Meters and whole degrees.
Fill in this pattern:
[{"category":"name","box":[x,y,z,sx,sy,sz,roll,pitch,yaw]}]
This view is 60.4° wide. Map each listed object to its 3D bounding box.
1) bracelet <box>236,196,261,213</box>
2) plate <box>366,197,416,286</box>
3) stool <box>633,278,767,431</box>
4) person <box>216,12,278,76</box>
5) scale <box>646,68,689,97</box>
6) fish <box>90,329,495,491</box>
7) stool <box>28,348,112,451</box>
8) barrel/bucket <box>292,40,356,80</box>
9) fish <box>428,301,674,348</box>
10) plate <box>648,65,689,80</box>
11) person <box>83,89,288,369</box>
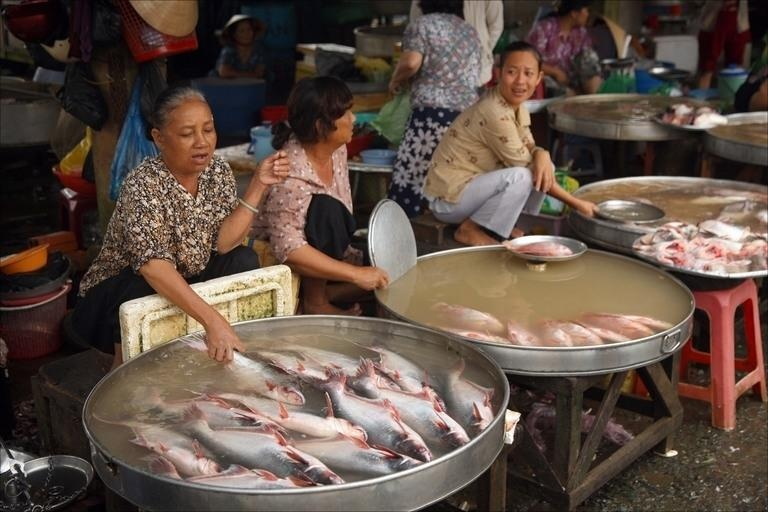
[{"category":"bracelet","box":[-0.780,-0.294,3.759,0.090,0.020,0.089,29,7,3]},{"category":"plate","box":[0.044,-0.086,3.809,0.098,0.439,0.416,-5,51,36]},{"category":"stool","box":[1.925,0.630,4.037,0.656,0.896,0.623,16,30,42]},{"category":"person","box":[-2.117,-3.139,9.958,0.816,0.976,0.968,-3,6,-15]},{"category":"scale","box":[3.265,-1.949,7.383,0.519,0.250,0.591,1,23,-4]},{"category":"fish","box":[-0.347,0.604,2.838,1.699,0.229,1.053,9,23,13]},{"category":"stool","box":[-1.734,0.861,3.698,0.345,0.446,0.325,-14,-7,-13]},{"category":"barrel/bucket","box":[-0.818,-2.627,8.916,0.717,0.438,1.823,0,23,-8]},{"category":"fish","box":[0.826,0.367,3.297,1.200,0.078,0.414,6,23,7]},{"category":"plate","box":[3.195,-2.046,7.400,0.262,0.064,0.254,17,27,25]},{"category":"person","box":[-1.184,-0.109,3.581,1.158,1.547,0.936,7,24,9]}]
